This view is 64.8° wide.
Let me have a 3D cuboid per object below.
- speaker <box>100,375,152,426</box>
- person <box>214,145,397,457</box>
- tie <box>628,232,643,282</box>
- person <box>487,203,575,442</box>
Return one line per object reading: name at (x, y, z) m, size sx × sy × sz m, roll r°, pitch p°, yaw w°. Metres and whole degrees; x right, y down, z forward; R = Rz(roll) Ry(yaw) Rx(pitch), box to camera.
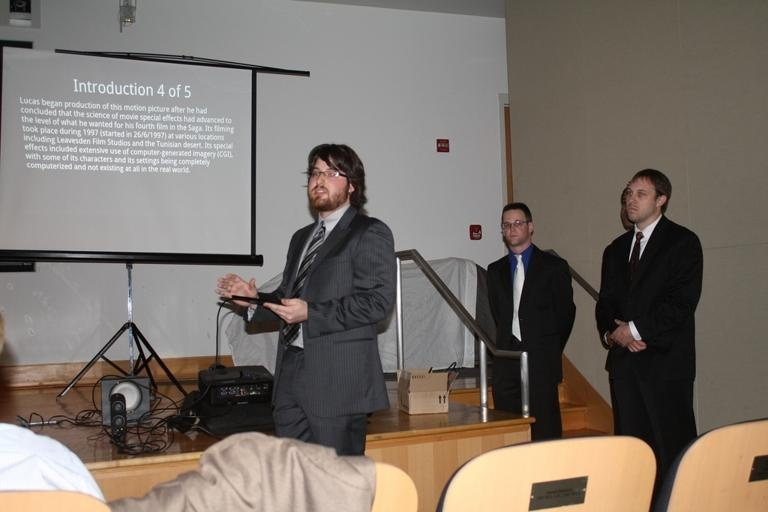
speaker at (-1.453, 0.789, 3.418) m, size 0.256 × 0.278 × 0.269 m, roll 1°, pitch -6°, yaw -22°
person at (-0.312, 0.199, 2.866) m, size 0.729 × 1.510 × 0.730 m, roll -1°, pitch 1°, yaw -14°
tie at (1.514, -0.002, 3.665) m, size 0.045 × 0.335 × 0.046 m, roll -3°, pitch -32°, yaw 27°
person at (1.011, 0.426, 4.292) m, size 0.414 × 1.609 × 0.528 m, roll -1°, pitch 1°, yaw -26°
